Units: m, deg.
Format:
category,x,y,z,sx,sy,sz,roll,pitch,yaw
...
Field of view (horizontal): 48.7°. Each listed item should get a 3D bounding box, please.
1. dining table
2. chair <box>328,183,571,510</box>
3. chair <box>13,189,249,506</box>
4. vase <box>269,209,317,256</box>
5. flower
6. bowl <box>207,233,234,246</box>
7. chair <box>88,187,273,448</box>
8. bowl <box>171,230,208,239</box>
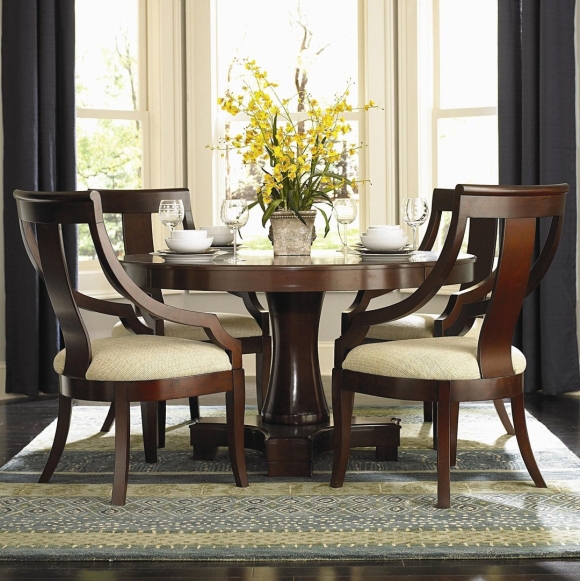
category,x,y,z,sx,sy,sz,roll,pitch,yaw
dining table,0.021,0.298,2.470,1.241,0.694,1.174,0,-4,25
chair,0.497,0.167,2.004,0.737,0.970,0.439,-1,3,0
chair,-0.520,0.171,2.145,0.714,0.864,0.710,3,-3,26
vase,0.021,-0.217,2.439,0.224,0.156,0.162,0,10,0
flower,0.031,-0.402,2.467,0.489,0.440,0.481,-4,10,-21
bowl,-0.289,-0.223,2.757,0.081,0.037,0.066,0,7,4
chair,-0.509,0.256,2.655,0.778,0.845,0.763,-14,-15,25
bowl,-0.351,-0.196,2.239,0.085,0.028,0.075,-1,4,-5
